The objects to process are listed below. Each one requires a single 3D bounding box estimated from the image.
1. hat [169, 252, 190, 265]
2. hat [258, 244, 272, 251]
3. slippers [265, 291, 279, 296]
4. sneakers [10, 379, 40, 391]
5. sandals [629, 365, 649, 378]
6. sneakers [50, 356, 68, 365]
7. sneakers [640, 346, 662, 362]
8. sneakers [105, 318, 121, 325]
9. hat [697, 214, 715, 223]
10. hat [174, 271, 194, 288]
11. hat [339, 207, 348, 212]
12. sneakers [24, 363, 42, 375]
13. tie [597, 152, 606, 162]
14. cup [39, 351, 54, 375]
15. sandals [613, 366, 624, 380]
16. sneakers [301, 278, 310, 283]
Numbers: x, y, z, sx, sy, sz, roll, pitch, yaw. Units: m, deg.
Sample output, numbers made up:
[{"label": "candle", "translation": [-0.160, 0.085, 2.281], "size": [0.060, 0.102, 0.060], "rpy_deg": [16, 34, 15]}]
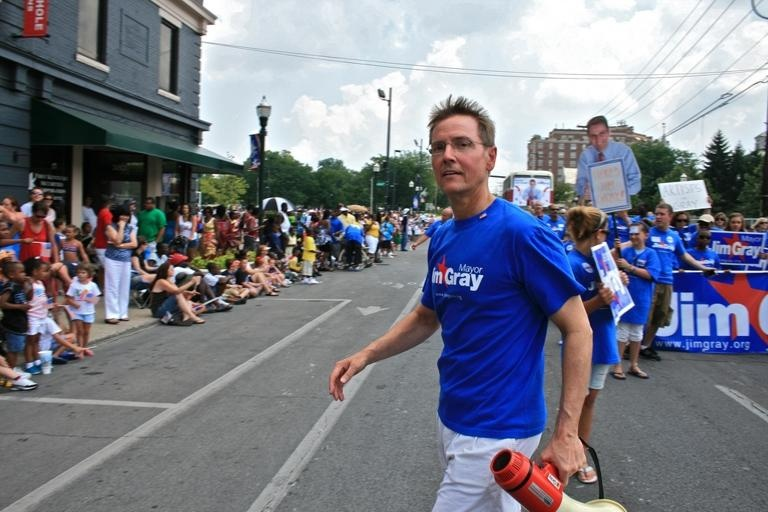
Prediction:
[{"label": "hat", "translation": [-4.862, 0.059, 13.705], "size": [0.541, 0.267, 0.529], "rpy_deg": [2, 6, -26]}, {"label": "hat", "translation": [-3.409, -0.229, 16.631], "size": [0.299, 0.119, 0.384], "rpy_deg": [1, 6, 17]}, {"label": "slippers", "translation": [-3.052, 1.027, 15.915], "size": [0.265, 0.075, 0.139], "rpy_deg": [-1, 1, 34]}, {"label": "sneakers", "translation": [-4.825, 1.735, 7.839], "size": [0.343, 0.118, 0.129], "rpy_deg": [1, 1, -1]}, {"label": "sandals", "translation": [3.723, 1.723, 8.649], "size": [0.125, 0.114, 0.314], "rpy_deg": [-3, 3, -35]}, {"label": "sneakers", "translation": [-4.982, 1.612, 8.958], "size": [0.258, 0.089, 0.081], "rpy_deg": [1, 14, -7]}, {"label": "sneakers", "translation": [4.413, 1.615, 9.667], "size": [0.366, 0.161, 0.265], "rpy_deg": [-1, 9, -11]}, {"label": "sneakers", "translation": [-5.248, 1.242, 11.219], "size": [0.289, 0.083, 0.245], "rpy_deg": [-1, 9, -8]}, {"label": "hat", "translation": [7.201, -0.849, 13.117], "size": [0.361, 0.169, 0.547], "rpy_deg": [0, -3, 42]}, {"label": "hat", "translation": [-4.288, 0.499, 12.555], "size": [0.366, 0.581, 0.436], "rpy_deg": [-1, 5, -24]}, {"label": "hat", "translation": [-1.593, -1.853, 23.109], "size": [0.391, 0.089, 0.373], "rpy_deg": [1, 1, 18]}, {"label": "sneakers", "translation": [-5.129, 1.634, 8.501], "size": [0.308, 0.108, 0.112], "rpy_deg": [1, 0, 29]}, {"label": "tie", "translation": [3.755, -1.734, 10.151], "size": [0.055, 0.170, 0.132], "rpy_deg": [3, -9, -38]}, {"label": "cup", "translation": [-4.931, 1.556, 8.521], "size": [0.147, 0.316, 0.202], "rpy_deg": [-6, 11, -32]}, {"label": "sandals", "translation": [3.399, 1.719, 8.531], "size": [0.115, 0.134, 0.346], "rpy_deg": [-2, -10, 5]}, {"label": "sneakers", "translation": [-2.461, 0.779, 18.310], "size": [0.151, 0.162, 0.412], "rpy_deg": [0, -8, -11]}]
